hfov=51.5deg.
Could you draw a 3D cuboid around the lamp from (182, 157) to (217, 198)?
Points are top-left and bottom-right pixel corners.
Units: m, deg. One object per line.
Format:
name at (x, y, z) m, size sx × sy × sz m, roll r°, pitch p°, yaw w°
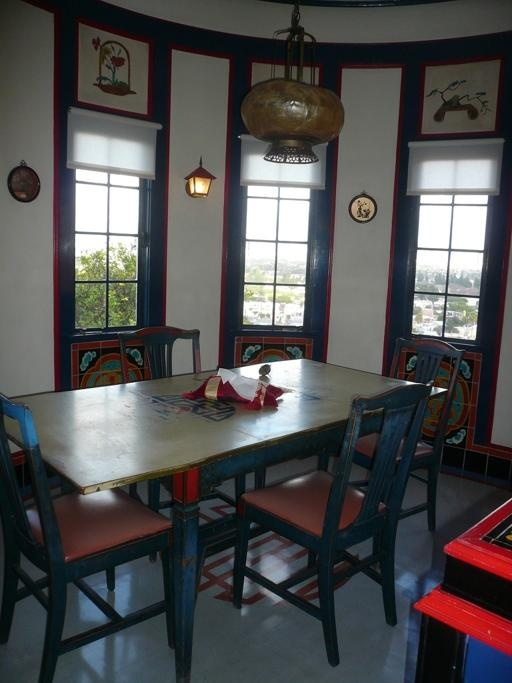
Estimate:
lamp at (-0.374, -1.099, 3.530) m, size 0.198 × 0.273 × 0.255 m, roll 2°, pitch 5°, yaw -6°
